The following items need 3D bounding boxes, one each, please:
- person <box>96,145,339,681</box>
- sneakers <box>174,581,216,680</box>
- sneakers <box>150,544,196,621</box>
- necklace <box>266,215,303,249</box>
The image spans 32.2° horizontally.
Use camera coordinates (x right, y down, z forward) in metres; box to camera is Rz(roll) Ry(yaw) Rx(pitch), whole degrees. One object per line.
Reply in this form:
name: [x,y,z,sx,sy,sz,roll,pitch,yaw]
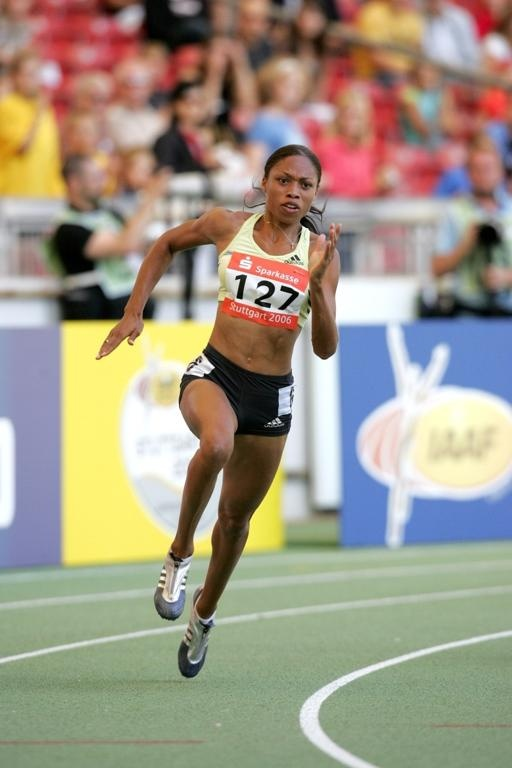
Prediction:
person: [-0.150,0.097,3.183,0.674,1.796,0.920,3,27,-2]
sneakers: [-0.211,0.904,3.219,0.125,0.318,0.146,9,5,-22]
sneakers: [-0.301,0.721,3.118,0.111,0.277,0.137,9,2,-7]
necklace: [0.092,-0.528,3.150,0.114,0.133,0.115,4,60,0]
